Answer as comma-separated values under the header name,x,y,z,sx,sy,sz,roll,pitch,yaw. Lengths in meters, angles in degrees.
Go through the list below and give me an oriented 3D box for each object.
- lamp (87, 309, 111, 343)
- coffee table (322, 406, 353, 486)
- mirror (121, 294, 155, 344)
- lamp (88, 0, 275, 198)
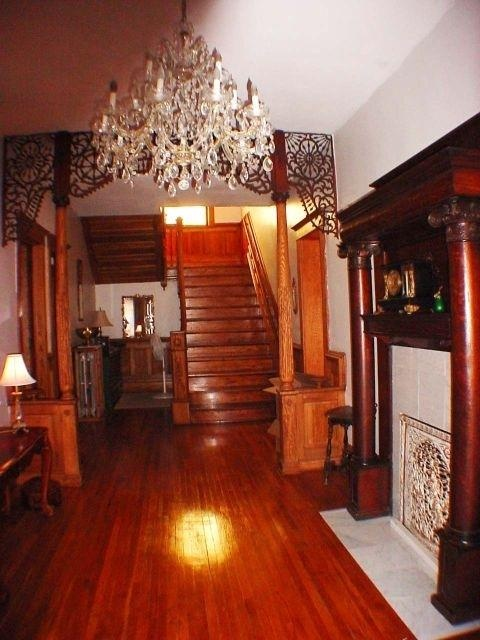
name,x,y,z,sx,sy,sz,roll,pitch,yaw
lamp,-2.155,0.063,7.228,0.373,0.579,0.431,-2,7,-5
coffee table,0.762,0.994,3.773,0.260,0.472,0.280,3,-8,11
mirror,-1.913,0.009,8.831,0.751,1.154,0.079,-1,-3,-18
lamp,-0.286,-1.068,2.329,0.866,0.775,0.605,-4,2,-11
